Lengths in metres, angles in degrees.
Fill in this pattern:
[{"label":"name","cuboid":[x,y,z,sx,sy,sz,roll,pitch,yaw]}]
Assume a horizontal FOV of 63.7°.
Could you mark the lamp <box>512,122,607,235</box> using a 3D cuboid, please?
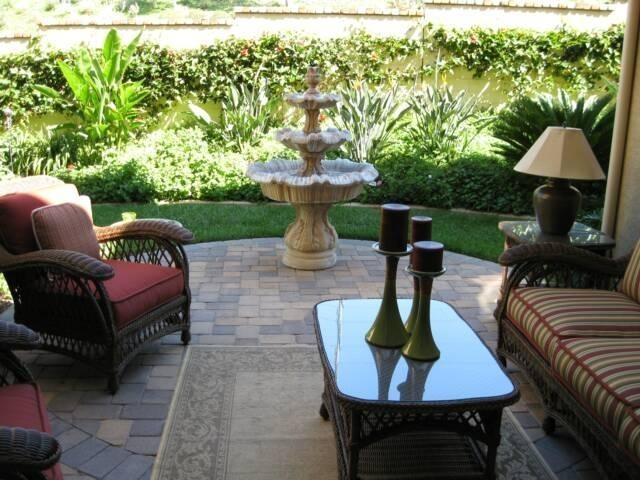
[{"label":"lamp","cuboid":[1.730,-0.456,3.771,0.720,0.898,0.702,4,14,13]}]
